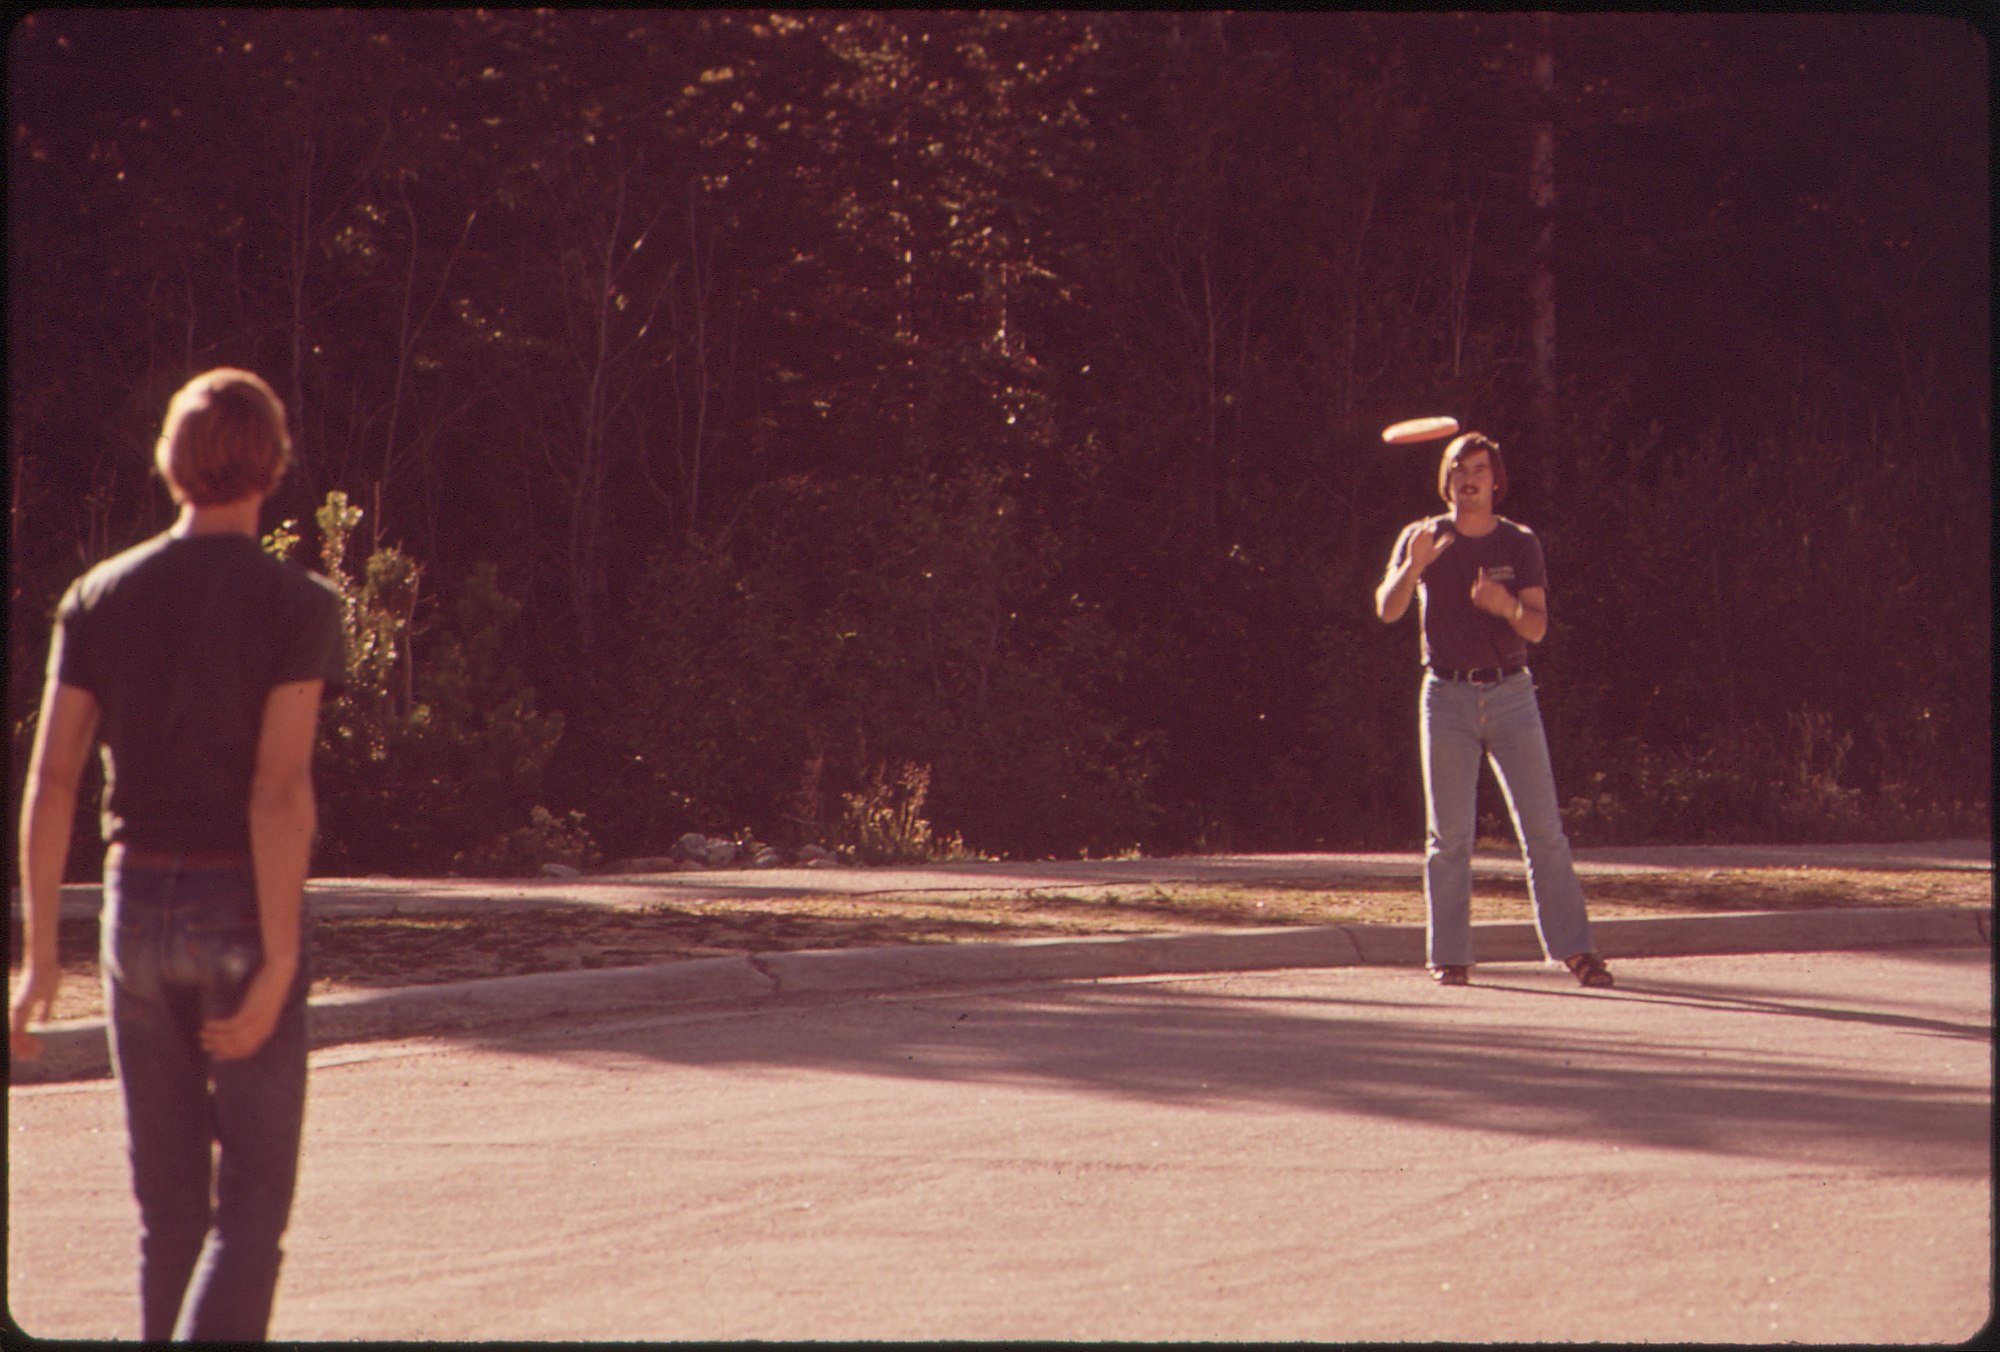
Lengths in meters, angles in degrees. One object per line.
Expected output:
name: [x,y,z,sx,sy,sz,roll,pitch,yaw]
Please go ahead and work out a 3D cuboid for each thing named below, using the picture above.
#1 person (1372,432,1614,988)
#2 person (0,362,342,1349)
person: [3.022,0.225,14.630,1.318,3.413,0.802,1,7,9]
person: [-3.045,0.711,8.896,1.127,3.637,0.516,-1,7,-11]
